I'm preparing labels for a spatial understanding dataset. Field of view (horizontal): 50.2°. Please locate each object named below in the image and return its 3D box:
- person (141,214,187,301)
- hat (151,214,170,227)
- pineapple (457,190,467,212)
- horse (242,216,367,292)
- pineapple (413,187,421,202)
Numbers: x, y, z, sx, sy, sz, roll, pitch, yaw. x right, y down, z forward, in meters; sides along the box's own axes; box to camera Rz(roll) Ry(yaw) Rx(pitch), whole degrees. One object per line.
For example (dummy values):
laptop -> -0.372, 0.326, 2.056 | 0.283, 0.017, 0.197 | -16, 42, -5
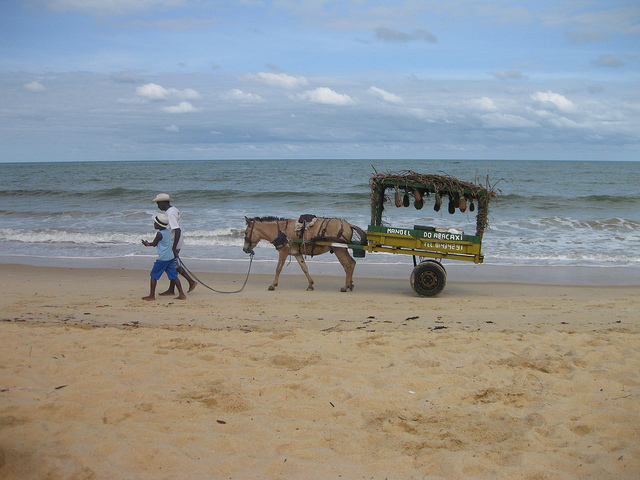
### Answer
person -> -3.177, 0.385, 13.976 | 0.871, 1.763, 0.879 | 2, 6, -9
hat -> -3.230, -0.388, 13.860 | 0.302, 0.101, 0.271 | 38, 13, 16
pineapple -> 2.876, -0.787, 14.053 | 0.191, 0.445, 0.424 | 4, 5, 10
horse -> -0.378, 0.343, 15.739 | 2.604, 1.652, 0.754 | 3, 6, 14
pineapple -> 1.991, -0.925, 14.206 | 0.181, 0.297, 0.183 | 3, 5, -3
